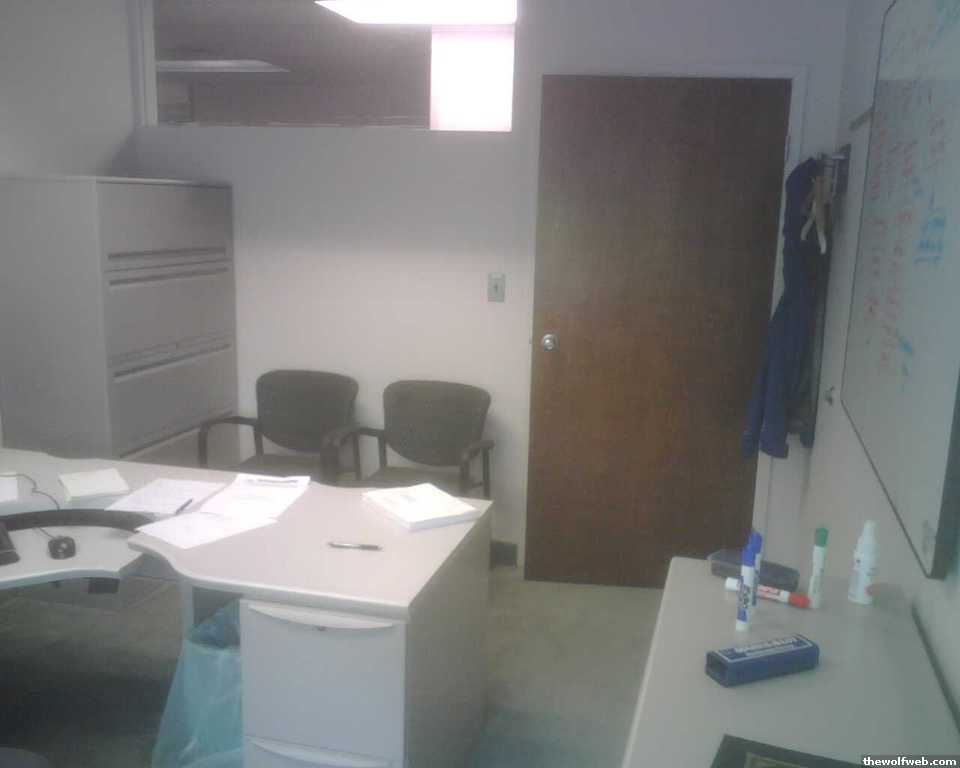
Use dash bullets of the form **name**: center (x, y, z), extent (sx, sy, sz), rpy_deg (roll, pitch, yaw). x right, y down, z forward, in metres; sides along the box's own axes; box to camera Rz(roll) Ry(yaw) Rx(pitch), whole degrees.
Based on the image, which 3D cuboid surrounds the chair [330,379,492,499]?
- **chair**: center (-0.236, 0.159, 3.237), extent (0.538, 0.740, 0.466), rpy_deg (2, 7, 15)

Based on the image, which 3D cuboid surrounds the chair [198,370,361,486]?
- **chair**: center (-0.768, 0.129, 3.292), extent (0.491, 0.702, 0.486), rpy_deg (4, 8, 12)
